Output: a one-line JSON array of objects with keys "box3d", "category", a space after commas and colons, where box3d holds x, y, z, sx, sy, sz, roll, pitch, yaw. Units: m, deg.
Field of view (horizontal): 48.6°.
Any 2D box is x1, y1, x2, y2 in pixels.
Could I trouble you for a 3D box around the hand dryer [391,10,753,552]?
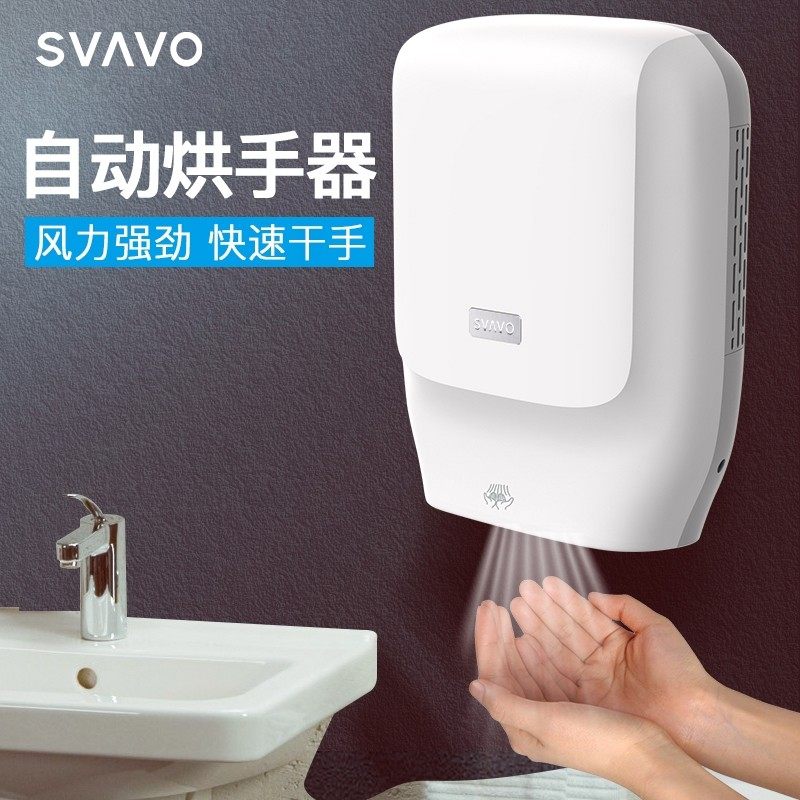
[{"box3d": [0.168, -0.119, 0.986, 0.434, 0.553, 0.322, 8, 34, 17], "category": "hand dryer"}]
